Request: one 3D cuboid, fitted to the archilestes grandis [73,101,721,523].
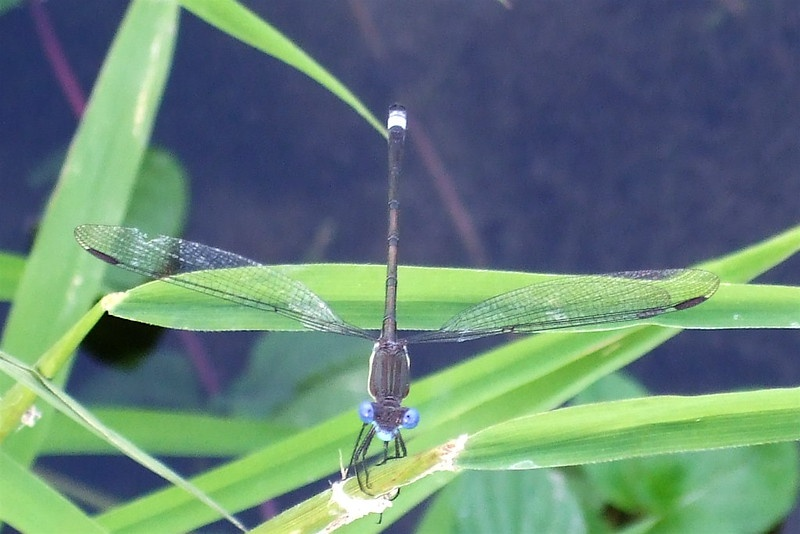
[{"bbox_3d":[-0.094,0.391,5.733,3.570,0.926,2.175,2,-100,0],"label":"archilestes grandis"}]
